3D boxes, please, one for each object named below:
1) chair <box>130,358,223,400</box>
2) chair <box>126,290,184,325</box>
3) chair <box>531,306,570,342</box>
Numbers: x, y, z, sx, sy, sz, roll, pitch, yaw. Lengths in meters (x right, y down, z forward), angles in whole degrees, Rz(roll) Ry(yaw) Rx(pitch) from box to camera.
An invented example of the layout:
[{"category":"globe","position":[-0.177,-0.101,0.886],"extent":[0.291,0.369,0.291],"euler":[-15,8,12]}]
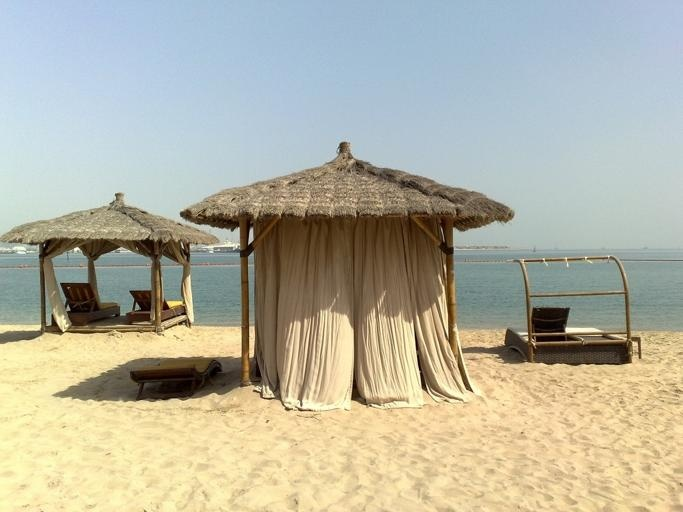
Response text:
[{"category":"chair","position":[-2.914,2.155,9.595],"extent":[1.247,0.699,1.277],"euler":[-4,0,-2]},{"category":"chair","position":[-4.597,1.378,14.339],"extent":[1.972,0.537,0.901],"euler":[-1,6,19]},{"category":"chair","position":[4.546,1.481,11.618],"extent":[0.781,0.727,0.984],"euler":[-4,0,13]}]
